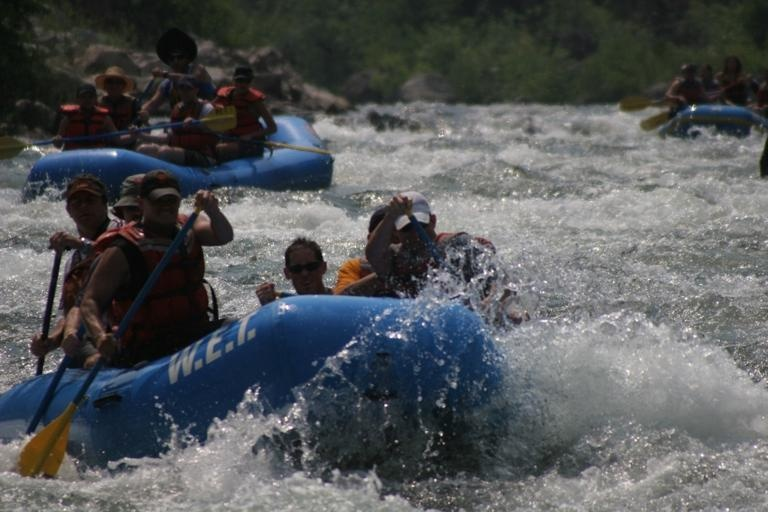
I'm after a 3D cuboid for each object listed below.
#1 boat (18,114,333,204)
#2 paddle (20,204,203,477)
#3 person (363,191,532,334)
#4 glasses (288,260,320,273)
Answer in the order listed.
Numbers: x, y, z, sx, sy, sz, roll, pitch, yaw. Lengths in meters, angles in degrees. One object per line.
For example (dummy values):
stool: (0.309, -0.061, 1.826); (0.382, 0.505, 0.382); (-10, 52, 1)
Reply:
boat: (-2.859, -1.509, 22.827); (3.727, 0.811, 2.024); (-4, 13, -45)
paddle: (-3.479, 1.192, 18.389); (0.604, 4.143, 0.340); (34, -5, 10)
person: (0.631, 0.139, 19.572); (1.651, 0.880, 2.796); (-5, -24, 5)
glasses: (-1.050, 0.099, 18.685); (0.406, 0.159, 0.068); (0, 17, -9)
